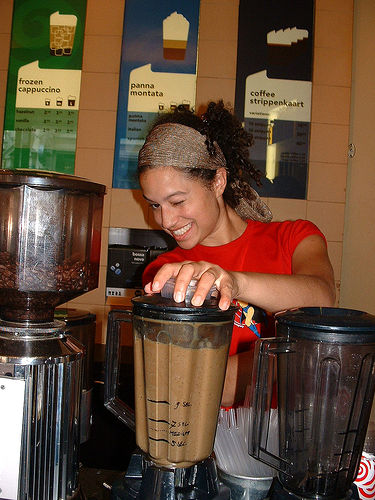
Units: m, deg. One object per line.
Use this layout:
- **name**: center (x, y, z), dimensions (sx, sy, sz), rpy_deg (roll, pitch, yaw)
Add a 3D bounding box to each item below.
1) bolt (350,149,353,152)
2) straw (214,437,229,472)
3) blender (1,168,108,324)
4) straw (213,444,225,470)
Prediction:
- **bolt**: center (0.839, -0.505, 2.425), dimensions (0.013, 0.016, 0.006), rpy_deg (-1, -2, 5)
- **straw**: center (0.048, 0.289, 0.672), dimensions (0.006, 0.005, 0.036), rpy_deg (-5, 38, -25)
- **blender**: center (-0.194, 0.004, 0.677), dimensions (0.142, 0.209, 0.097), rpy_deg (3, 3, -19)
- **straw**: center (0.041, 0.291, 0.671), dimensions (0.006, 0.005, 0.040), rpy_deg (-18, 41, -13)
